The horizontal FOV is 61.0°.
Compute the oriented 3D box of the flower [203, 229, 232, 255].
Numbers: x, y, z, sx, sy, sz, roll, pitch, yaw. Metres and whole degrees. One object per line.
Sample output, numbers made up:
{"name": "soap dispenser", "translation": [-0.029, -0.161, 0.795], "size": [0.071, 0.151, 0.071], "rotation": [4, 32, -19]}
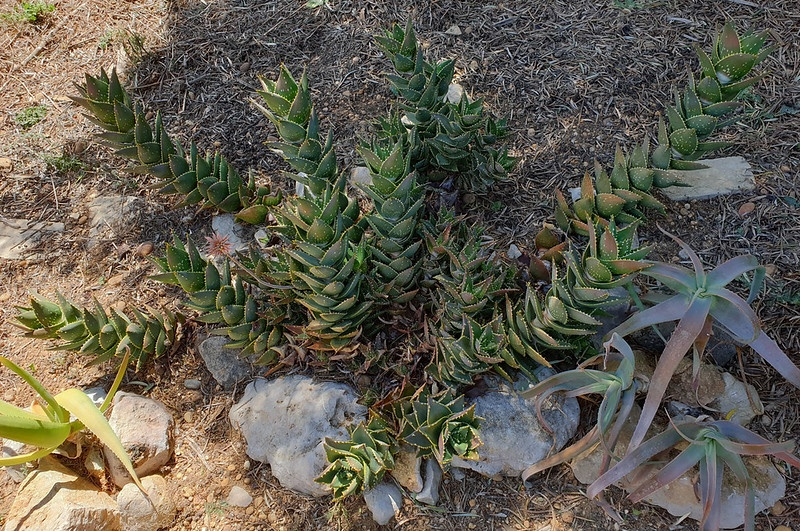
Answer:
{"name": "flower", "translation": [-1.085, -0.133, 4.027], "size": [0.180, 0.093, 0.150], "rotation": [8, 60, 27]}
